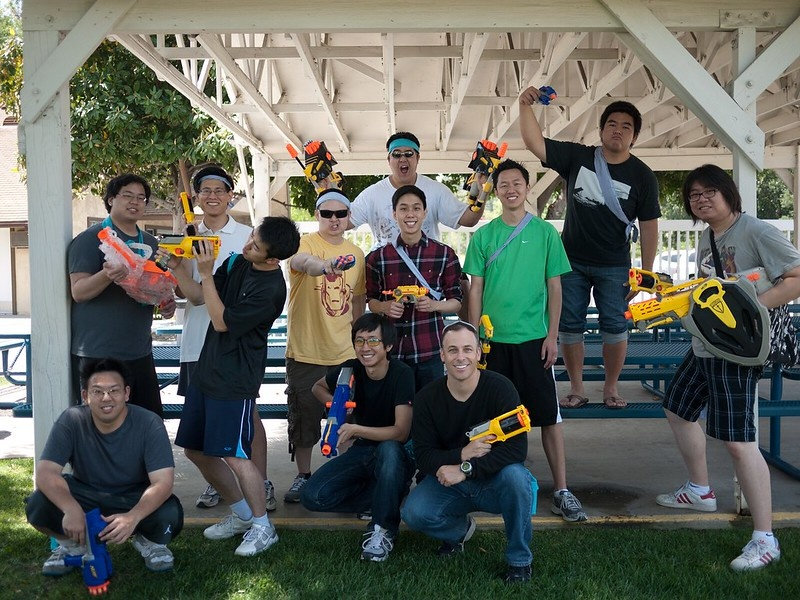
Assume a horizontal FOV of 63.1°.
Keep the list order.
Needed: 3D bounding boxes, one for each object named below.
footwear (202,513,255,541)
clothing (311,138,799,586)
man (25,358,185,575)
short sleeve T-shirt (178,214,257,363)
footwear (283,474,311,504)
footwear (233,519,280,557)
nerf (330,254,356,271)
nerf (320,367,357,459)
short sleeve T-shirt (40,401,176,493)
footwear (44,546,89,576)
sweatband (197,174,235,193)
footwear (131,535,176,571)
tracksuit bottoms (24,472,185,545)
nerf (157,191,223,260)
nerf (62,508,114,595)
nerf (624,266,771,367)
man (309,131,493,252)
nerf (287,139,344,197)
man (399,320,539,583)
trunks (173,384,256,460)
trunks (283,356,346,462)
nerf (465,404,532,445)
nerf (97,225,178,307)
[{"bbox_3d":[-1.073,1.427,4.140,0.319,0.145,0.134,-3,2,-13],"label":"footwear"},{"bbox_3d":[0.865,0.341,5.038,3.227,3.321,1.687,-1,-5,-13],"label":"clothing"},{"bbox_3d":[-1.691,0.937,4.072,1.057,1.405,1.097,-1,-3,-12],"label":"man"},{"bbox_3d":[-1.138,-0.048,4.092,0.247,0.939,0.363,19,2,38],"label":"short sleeve T-shirt"},{"bbox_3d":[-0.714,1.338,4.656,0.120,0.171,0.370,2,2,11],"label":"footwear"},{"bbox_3d":[-0.853,1.418,3.859,0.106,0.135,0.298,-6,-11,10],"label":"footwear"},{"bbox_3d":[-0.329,-0.220,3.916,0.051,0.079,0.140,5,-3,-19],"label":"nerf"},{"bbox_3d":[-0.346,0.661,3.930,0.178,0.193,0.557,1,46,7],"label":"nerf"},{"bbox_3d":[-1.655,0.870,3.798,0.849,0.619,0.468,2,2,-4],"label":"short sleeve T-shirt"},{"bbox_3d":[-1.909,1.496,3.749,0.149,0.110,0.273,-2,-22,-6],"label":"footwear"},{"bbox_3d":[-1.237,-0.807,4.528,0.115,0.104,0.268,4,7,40],"label":"sweatband"},{"bbox_3d":[-1.383,1.423,3.733,0.277,0.122,0.116,14,2,30],"label":"footwear"},{"bbox_3d":[-1.669,1.198,3.614,0.529,0.225,0.532,4,-12,-5],"label":"tracksuit bottoms"},{"bbox_3d":[-1.287,-0.449,3.956,0.324,0.402,0.450,-3,5,-22],"label":"nerf"},{"bbox_3d":[-1.634,1.333,3.521,0.143,0.449,0.187,-3,5,-26],"label":"nerf"},{"bbox_3d":[1.783,0.047,3.789,0.651,0.649,0.243,33,41,-2],"label":"nerf"},{"bbox_3d":[0.026,-0.732,4.907,1.552,1.059,0.356,-3,-9,-1],"label":"man"},{"bbox_3d":[-0.600,-0.972,4.843,0.323,0.440,0.109,-22,34,-4],"label":"nerf"},{"bbox_3d":[0.421,0.850,3.737,0.812,1.330,0.735,2,8,45],"label":"man"},{"bbox_3d":[-1.096,0.740,3.959,0.510,0.497,0.287,6,-16,29],"label":"trunks"},{"bbox_3d":[-0.603,0.734,4.557,0.244,0.943,0.363,1,8,2],"label":"trunks"},{"bbox_3d":[0.544,0.691,3.641,0.338,0.235,0.094,-26,-1,11],"label":"nerf"},{"bbox_3d":[-1.529,-0.237,4.026,0.508,0.202,0.370,20,35,-9],"label":"nerf"}]
